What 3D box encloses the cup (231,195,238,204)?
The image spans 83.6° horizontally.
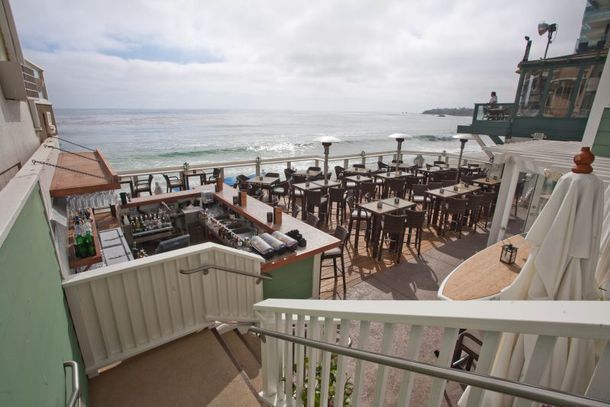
[{"bbox_3d":[-1.387,-0.082,6.978,0.160,0.155,0.151,1,12,0],"label":"cup"}]

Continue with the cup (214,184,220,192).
[{"bbox_3d":[-1.992,-0.363,7.826,0.159,0.170,0.112,9,17,24],"label":"cup"}]

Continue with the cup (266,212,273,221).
[{"bbox_3d":[-0.626,0.231,6.113,0.153,0.150,0.141,0,17,0],"label":"cup"}]
